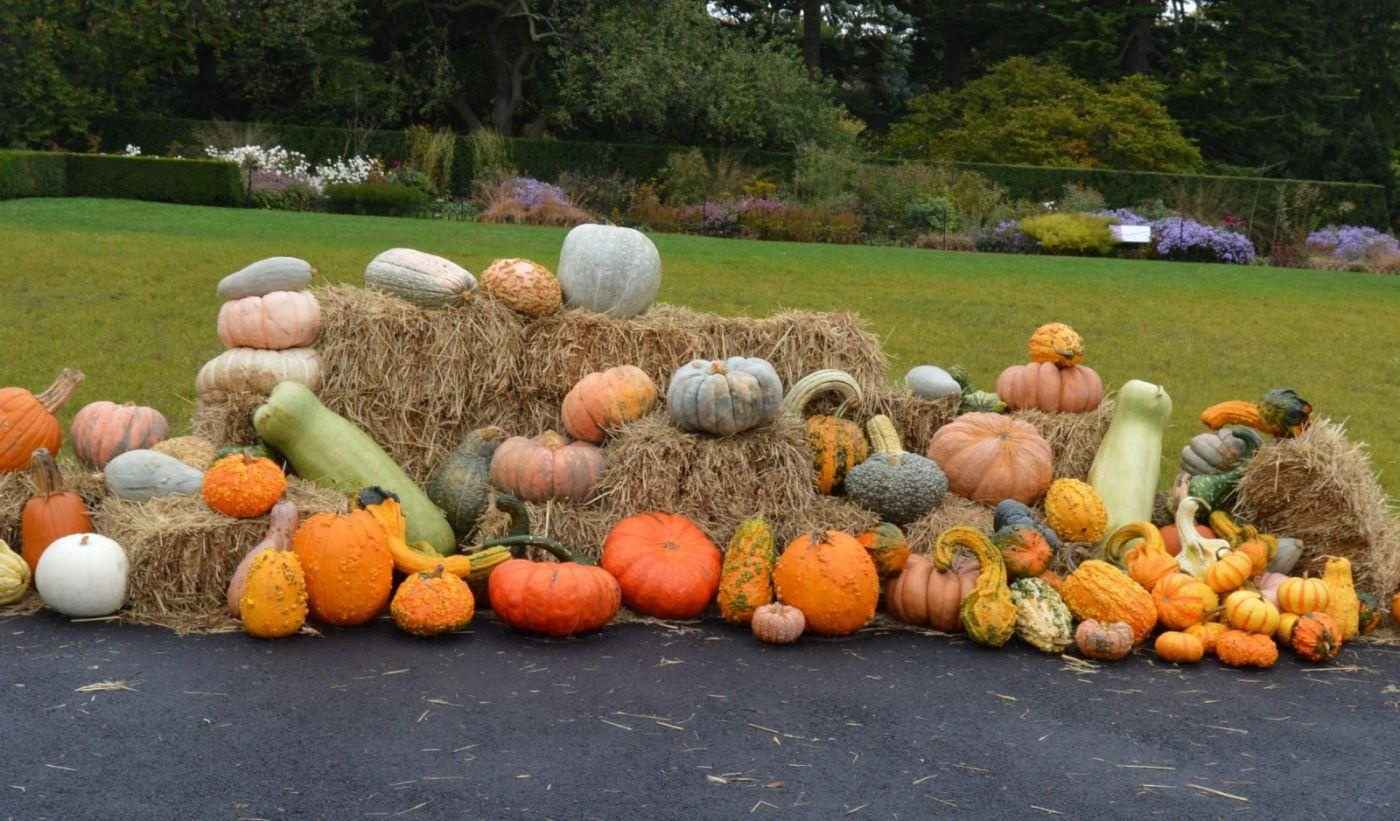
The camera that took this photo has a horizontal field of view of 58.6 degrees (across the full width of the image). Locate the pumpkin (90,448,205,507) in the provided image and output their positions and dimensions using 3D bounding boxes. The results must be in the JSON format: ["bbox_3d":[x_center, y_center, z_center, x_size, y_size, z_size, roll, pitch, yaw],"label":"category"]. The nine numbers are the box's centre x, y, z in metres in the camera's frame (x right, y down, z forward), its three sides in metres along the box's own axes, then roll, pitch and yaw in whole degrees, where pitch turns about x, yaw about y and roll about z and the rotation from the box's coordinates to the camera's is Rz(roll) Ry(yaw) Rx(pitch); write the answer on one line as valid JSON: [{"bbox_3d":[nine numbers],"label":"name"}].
[{"bbox_3d":[-4.487,0.539,10.250,0.789,0.357,0.413,3,-30,-3],"label":"pumpkin"}]

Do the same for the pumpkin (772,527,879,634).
[{"bbox_3d":[0.973,1.357,10.104,0.826,0.752,0.777,-4,5,0],"label":"pumpkin"}]

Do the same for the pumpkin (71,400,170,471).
[{"bbox_3d":[-4.964,0.137,10.721,0.679,0.579,0.653,8,4,-20],"label":"pumpkin"}]

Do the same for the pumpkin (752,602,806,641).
[{"bbox_3d":[0.619,1.660,9.702,0.325,0.219,0.308,1,2,-7],"label":"pumpkin"}]

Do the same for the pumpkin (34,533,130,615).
[{"bbox_3d":[-4.760,1.296,9.675,0.676,0.594,0.655,4,4,-29],"label":"pumpkin"}]

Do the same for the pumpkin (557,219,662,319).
[{"bbox_3d":[-0.841,-1.294,11.539,0.886,0.764,0.899,5,-1,45],"label":"pumpkin"}]

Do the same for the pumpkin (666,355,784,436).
[{"bbox_3d":[0.204,-0.115,10.419,0.744,0.407,0.731,-17,10,-29],"label":"pumpkin"}]

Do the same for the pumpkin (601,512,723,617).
[{"bbox_3d":[-0.301,1.259,10.078,0.961,0.726,0.471,4,14,-3],"label":"pumpkin"}]

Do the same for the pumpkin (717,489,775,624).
[{"bbox_3d":[0.400,1.246,9.953,0.424,0.795,0.348,10,-28,6],"label":"pumpkin"}]

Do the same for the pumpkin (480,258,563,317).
[{"bbox_3d":[-1.560,-1.074,11.017,0.607,0.211,0.537,2,39,-29],"label":"pumpkin"}]

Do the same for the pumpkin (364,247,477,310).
[{"bbox_3d":[-2.447,-1.174,11.157,0.976,0.451,0.460,12,-16,10],"label":"pumpkin"}]

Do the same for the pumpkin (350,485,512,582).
[{"bbox_3d":[-2.186,1.018,10.065,1.244,0.418,0.250,25,-23,-23],"label":"pumpkin"}]

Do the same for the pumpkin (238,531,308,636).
[{"bbox_3d":[-3.248,1.415,9.534,0.657,0.812,0.602,1,-4,-12],"label":"pumpkin"}]
